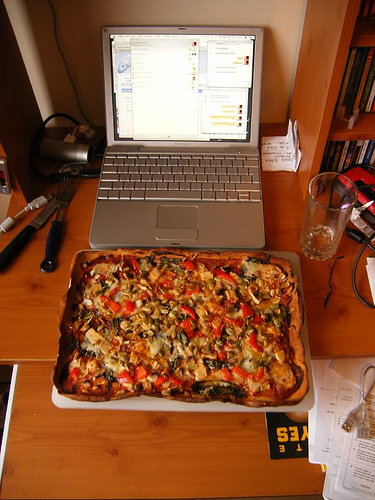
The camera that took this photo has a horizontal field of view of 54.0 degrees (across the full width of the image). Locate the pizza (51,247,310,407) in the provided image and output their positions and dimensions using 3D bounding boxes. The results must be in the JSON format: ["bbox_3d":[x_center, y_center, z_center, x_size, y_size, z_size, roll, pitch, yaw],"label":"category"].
[{"bbox_3d":[0.004,0.124,0.612,0.392,0.051,0.305,0,57,-5],"label":"pizza"}]

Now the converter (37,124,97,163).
[{"bbox_3d":[-0.323,-0.230,0.872,0.194,0.071,0.107,5,22,-6],"label":"converter"}]

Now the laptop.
[{"bbox_3d":[-0.019,-0.239,0.749,0.348,0.261,0.404,1,48,3],"label":"laptop"}]
